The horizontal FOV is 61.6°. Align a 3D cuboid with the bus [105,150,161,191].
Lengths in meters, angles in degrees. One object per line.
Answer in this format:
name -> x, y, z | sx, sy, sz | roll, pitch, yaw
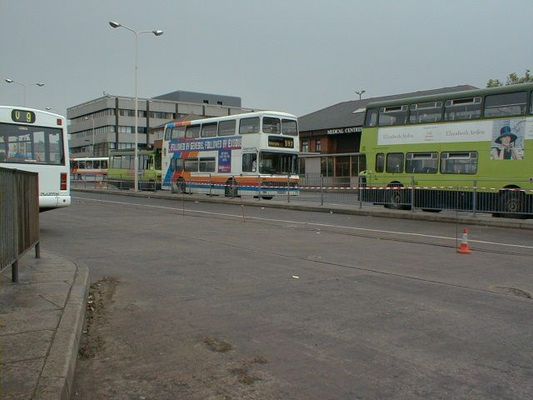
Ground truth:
bus -> -12.712, -3.078, 44.801 | 9.006, 4.473, 3.604 | 3, 2, 39
